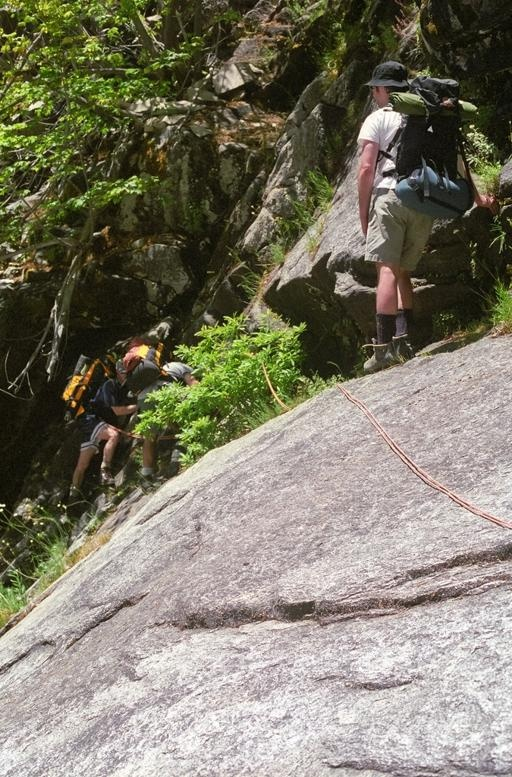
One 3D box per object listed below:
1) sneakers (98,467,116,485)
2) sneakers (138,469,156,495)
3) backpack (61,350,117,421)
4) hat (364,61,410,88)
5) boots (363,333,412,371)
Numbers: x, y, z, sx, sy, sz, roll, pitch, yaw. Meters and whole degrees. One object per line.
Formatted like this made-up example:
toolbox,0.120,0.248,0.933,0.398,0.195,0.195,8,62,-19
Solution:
sneakers,-1.826,1.096,9.901,0.112,0.196,0.300,9,-32,-35
sneakers,-1.144,0.981,8.401,0.132,0.369,0.161,-8,16,-8
backpack,-2.272,-0.047,10.914,0.461,0.335,1.131,-56,11,52
hat,0.874,-2.012,5.136,0.232,0.107,0.227,-24,32,-34
boots,0.903,-0.241,5.390,0.137,0.194,0.423,-30,7,-26
